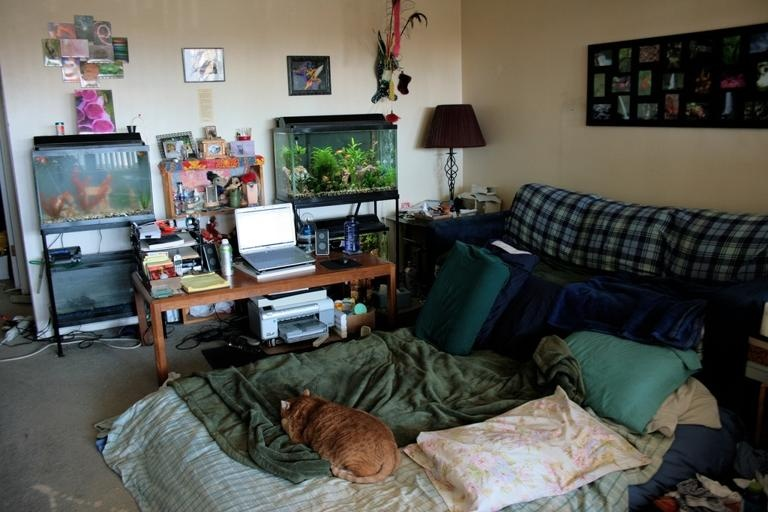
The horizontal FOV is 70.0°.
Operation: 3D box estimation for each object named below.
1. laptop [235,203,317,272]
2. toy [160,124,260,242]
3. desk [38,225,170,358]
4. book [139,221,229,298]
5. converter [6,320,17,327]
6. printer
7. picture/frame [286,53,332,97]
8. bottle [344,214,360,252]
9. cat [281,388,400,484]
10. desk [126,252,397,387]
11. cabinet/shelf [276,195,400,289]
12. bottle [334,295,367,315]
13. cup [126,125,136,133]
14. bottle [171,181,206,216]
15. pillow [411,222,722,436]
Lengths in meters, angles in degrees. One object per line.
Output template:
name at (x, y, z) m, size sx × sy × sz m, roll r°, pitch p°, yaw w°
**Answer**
laptop at (-0.885, -0.155, 4.404) m, size 0.595 × 0.417 × 0.606 m, roll -8°, pitch 18°, yaw -34°
toy at (-1.558, -0.650, 4.831) m, size 1.033 × 0.911 × 0.306 m, roll -8°, pitch 17°, yaw -30°
desk at (-2.347, 0.282, 4.538) m, size 1.000 × 0.874 × 0.371 m, roll -7°, pitch 21°, yaw -25°
book at (-1.545, 0.017, 4.091) m, size 0.443 × 0.341 × 0.774 m, roll -8°, pitch 17°, yaw -30°
converter at (-3.402, 0.609, 4.989) m, size 0.065 × 0.016 × 0.056 m, roll 6°, pitch 14°, yaw 3°
printer at (-0.720, 0.472, 4.310) m, size 0.521 × 0.284 × 0.509 m, roll -7°, pitch 13°, yaw -29°
picture/frame at (-0.730, -1.734, 5.222) m, size 0.468 × 0.373 × 0.052 m, roll -3°, pitch 16°, yaw -22°
bottle at (-0.279, -0.165, 4.709) m, size 0.132 × 0.261 × 0.209 m, roll -4°, pitch 17°, yaw -3°
cat at (-0.237, 0.917, 2.867) m, size 0.539 × 0.166 × 0.331 m, roll 22°, pitch 13°, yaw 34°
desk at (-0.895, 0.338, 4.729) m, size 2.278 × 0.768 × 1.268 m, roll -10°, pitch 17°, yaw -24°
cabinet/shelf at (-0.433, -0.127, 4.824) m, size 0.889 × 0.775 × 0.303 m, roll -6°, pitch 13°, yaw -25°
bottle at (-0.265, 0.426, 4.631) m, size 0.190 × 0.130 × 0.188 m, roll 3°, pitch 9°, yaw 0°
cup at (-2.149, -1.077, 4.656) m, size 0.098 × 0.068 × 0.095 m, roll 0°, pitch 2°, yaw 0°
bottle at (-1.730, -0.520, 4.873) m, size 0.250 × 0.275 × 0.227 m, roll -8°, pitch 17°, yaw -15°
pillow at (1.103, 0.411, 3.486) m, size 1.465 × 0.462 × 0.946 m, roll 20°, pitch 35°, yaw 33°
